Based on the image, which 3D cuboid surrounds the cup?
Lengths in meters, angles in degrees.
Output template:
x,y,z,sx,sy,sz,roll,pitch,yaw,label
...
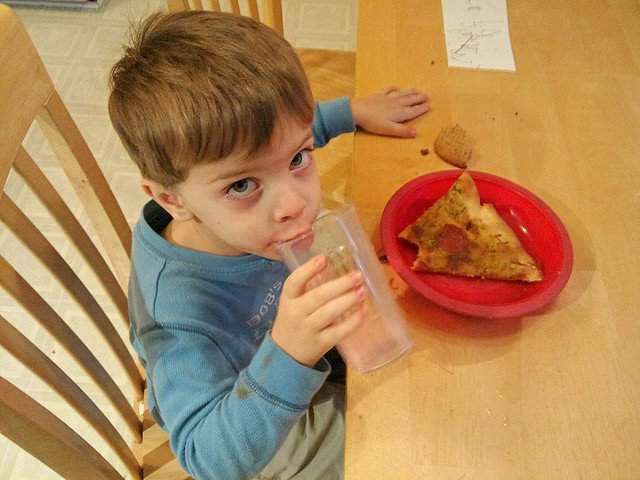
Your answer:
x,y,z,sx,sy,sz,roll,pitch,yaw,label
0.045,0.088,0.862,0.186,0.263,0.103,-13,32,-7,cup
